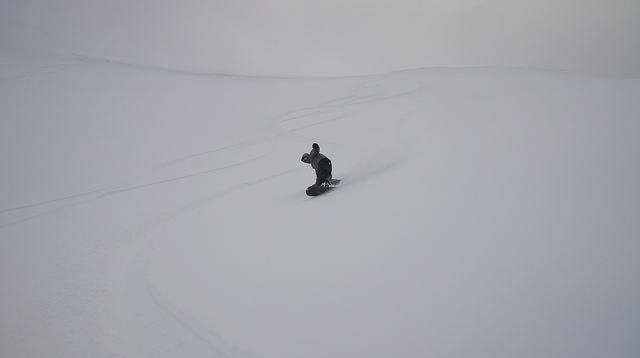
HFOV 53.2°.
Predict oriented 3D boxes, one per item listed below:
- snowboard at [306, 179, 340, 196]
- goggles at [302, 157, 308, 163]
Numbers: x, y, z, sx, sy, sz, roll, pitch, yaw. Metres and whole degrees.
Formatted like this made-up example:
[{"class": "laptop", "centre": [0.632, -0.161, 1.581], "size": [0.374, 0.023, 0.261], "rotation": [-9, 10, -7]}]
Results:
[{"class": "snowboard", "centre": [0.006, 0.098, 6.340], "size": [0.401, 0.174, 0.126], "rotation": [-5, -64, -8]}, {"class": "goggles", "centre": [-0.148, -0.194, 6.300], "size": [0.045, 0.058, 0.018], "rotation": [-2, 5, 4]}]
